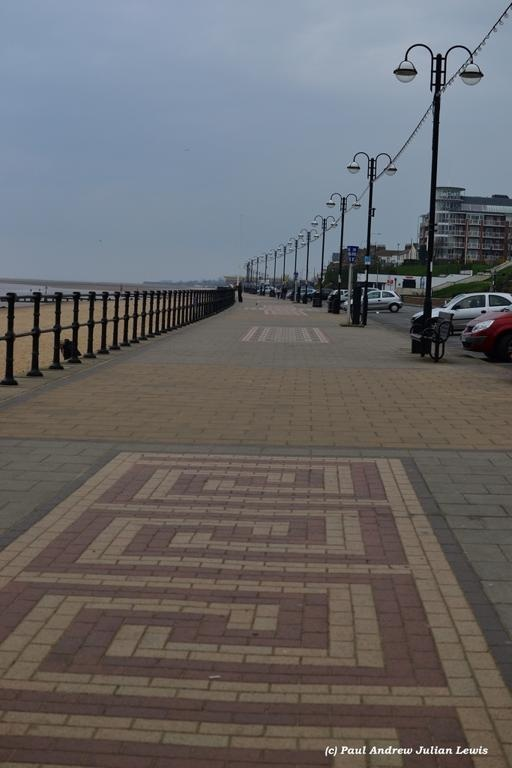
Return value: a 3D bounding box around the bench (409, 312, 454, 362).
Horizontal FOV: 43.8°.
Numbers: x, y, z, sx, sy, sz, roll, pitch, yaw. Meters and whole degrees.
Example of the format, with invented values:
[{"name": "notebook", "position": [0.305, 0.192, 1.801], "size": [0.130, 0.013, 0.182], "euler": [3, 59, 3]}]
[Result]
[{"name": "bench", "position": [5.121, -1.334, 18.486], "size": [0.803, 1.088, 2.192], "euler": [-5, 8, 3]}]
